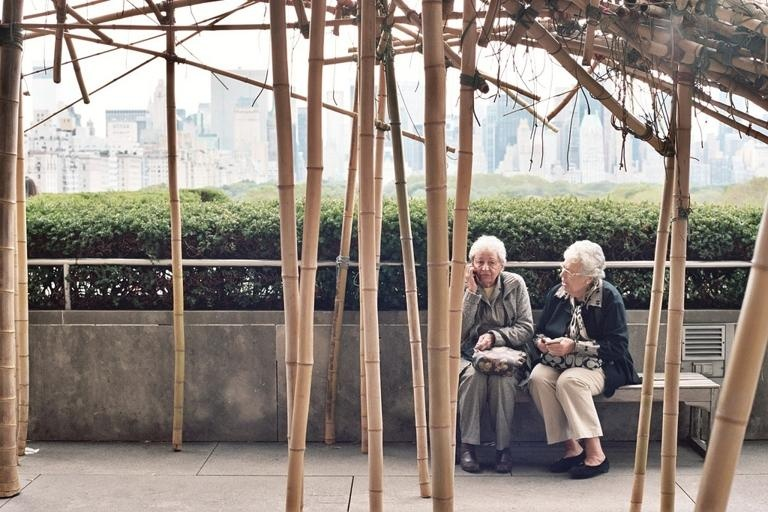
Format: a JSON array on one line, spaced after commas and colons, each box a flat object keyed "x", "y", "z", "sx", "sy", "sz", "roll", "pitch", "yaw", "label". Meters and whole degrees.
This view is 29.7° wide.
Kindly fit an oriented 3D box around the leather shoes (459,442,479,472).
[{"x": 0.786, "y": 1.800, "z": 13.063, "sx": 0.180, "sy": 0.237, "sz": 0.230, "roll": 0, "pitch": 2, "yaw": 0, "label": "leather shoes"}]

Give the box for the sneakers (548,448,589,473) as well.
[{"x": 1.642, "y": 1.816, "z": 13.018, "sx": 0.365, "sy": 0.150, "sz": 0.137, "roll": -18, "pitch": 1, "yaw": -11, "label": "sneakers"}]

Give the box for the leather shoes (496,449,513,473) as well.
[{"x": 1.076, "y": 1.826, "z": 13.006, "sx": 0.148, "sy": 0.201, "sz": 0.124, "roll": 0, "pitch": 2, "yaw": 6, "label": "leather shoes"}]

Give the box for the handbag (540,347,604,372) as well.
[{"x": 1.693, "y": 0.925, "z": 13.040, "sx": 0.537, "sy": 0.160, "sz": 0.099, "roll": 0, "pitch": 2, "yaw": 5, "label": "handbag"}]

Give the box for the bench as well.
[{"x": 2.060, "y": 1.450, "z": 13.397, "sx": 1.862, "sy": 0.689, "sz": 0.625, "roll": 1, "pitch": 9, "yaw": -1, "label": "bench"}]

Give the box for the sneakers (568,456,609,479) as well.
[{"x": 1.824, "y": 1.890, "z": 12.904, "sx": 0.293, "sy": 0.119, "sz": 0.154, "roll": 0, "pitch": -9, "yaw": -15, "label": "sneakers"}]

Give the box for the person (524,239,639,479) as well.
[{"x": 1.766, "y": 0.904, "z": 13.043, "sx": 0.922, "sy": 2.088, "sz": 0.528, "roll": 0, "pitch": 3, "yaw": 9, "label": "person"}]
